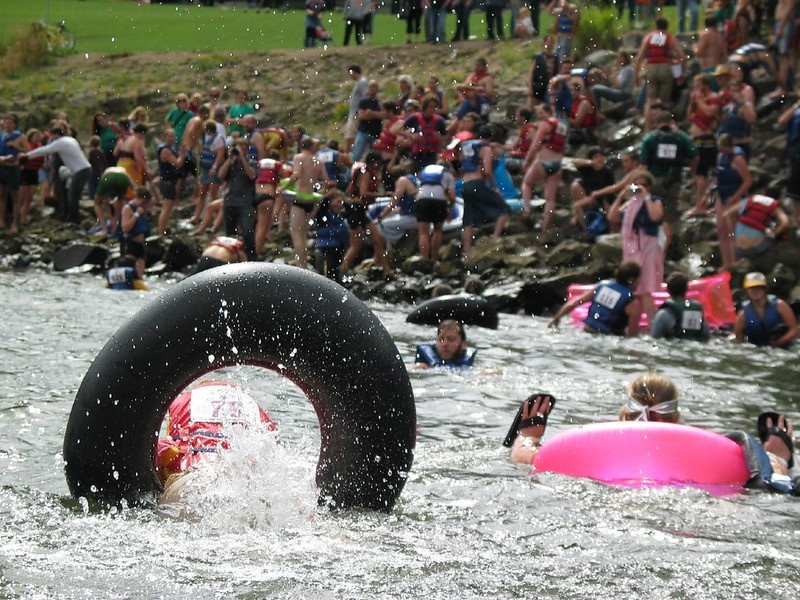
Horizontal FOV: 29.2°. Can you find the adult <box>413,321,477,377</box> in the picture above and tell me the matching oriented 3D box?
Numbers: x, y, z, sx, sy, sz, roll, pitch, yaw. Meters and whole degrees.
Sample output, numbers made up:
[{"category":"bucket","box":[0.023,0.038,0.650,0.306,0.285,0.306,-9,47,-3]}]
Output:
[{"category":"adult","box":[0.770,0.683,24.809,0.645,0.497,0.874,7,17,8]}]

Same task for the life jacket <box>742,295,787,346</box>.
[{"category":"life jacket","box":[6.360,0.352,26.926,0.583,0.938,0.475,-13,-2,25]}]
